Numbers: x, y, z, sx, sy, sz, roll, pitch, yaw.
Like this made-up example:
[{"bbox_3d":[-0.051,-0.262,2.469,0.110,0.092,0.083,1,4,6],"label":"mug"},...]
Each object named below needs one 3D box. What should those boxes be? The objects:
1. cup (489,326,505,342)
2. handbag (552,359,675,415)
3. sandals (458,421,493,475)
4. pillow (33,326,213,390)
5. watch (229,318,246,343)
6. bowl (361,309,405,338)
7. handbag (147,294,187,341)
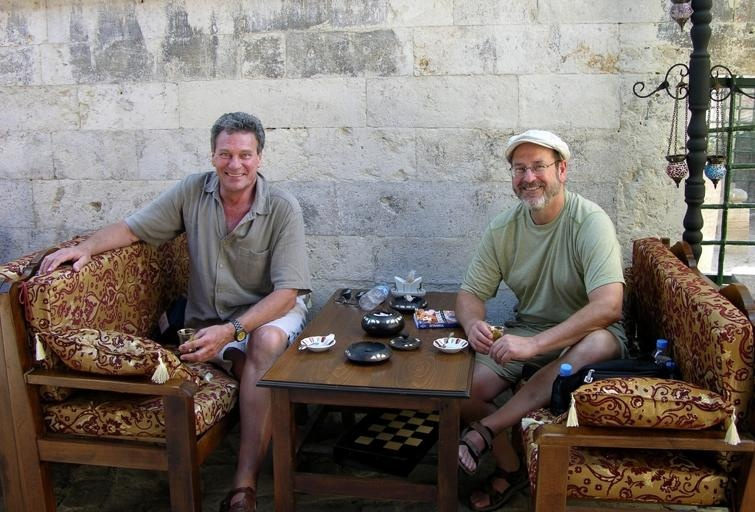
[{"bbox_3d":[0.701,0.461,3.801,0.088,0.089,0.088,-1,7,0],"label":"cup"},{"bbox_3d":[1.185,0.615,3.335,0.419,0.139,0.354,-3,-1,-7],"label":"handbag"},{"bbox_3d":[0.537,1.059,3.576,0.113,0.184,0.299,-30,5,46],"label":"sandals"},{"bbox_3d":[-1.424,0.527,3.441,0.551,0.153,0.430,8,-26,8],"label":"pillow"},{"bbox_3d":[-0.846,0.449,3.903,0.068,0.104,0.113,-28,-27,-7],"label":"watch"},{"bbox_3d":[0.041,0.401,3.821,0.175,0.085,0.173,0,9,0],"label":"bowl"},{"bbox_3d":[-1.387,0.423,4.302,0.098,0.267,0.236,28,16,-42],"label":"handbag"}]
